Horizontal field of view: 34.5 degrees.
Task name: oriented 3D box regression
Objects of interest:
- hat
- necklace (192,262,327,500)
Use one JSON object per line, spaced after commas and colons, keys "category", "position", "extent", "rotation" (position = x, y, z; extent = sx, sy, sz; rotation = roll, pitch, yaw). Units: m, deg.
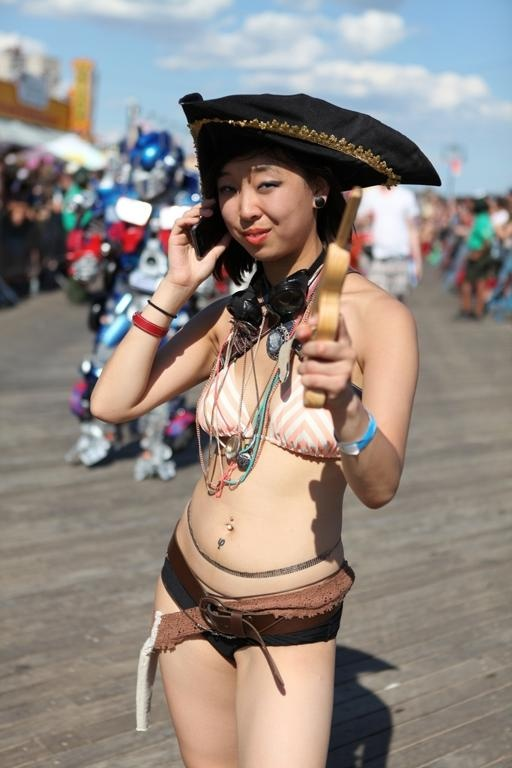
{"category": "hat", "position": [0.111, -0.505, 1.789], "extent": [0.576, 0.220, 0.353], "rotation": [7, 13, 8]}
{"category": "necklace", "position": [0.073, -0.026, 1.921], "extent": [0.357, 0.479, 0.358], "rotation": [-7, 16, -30]}
